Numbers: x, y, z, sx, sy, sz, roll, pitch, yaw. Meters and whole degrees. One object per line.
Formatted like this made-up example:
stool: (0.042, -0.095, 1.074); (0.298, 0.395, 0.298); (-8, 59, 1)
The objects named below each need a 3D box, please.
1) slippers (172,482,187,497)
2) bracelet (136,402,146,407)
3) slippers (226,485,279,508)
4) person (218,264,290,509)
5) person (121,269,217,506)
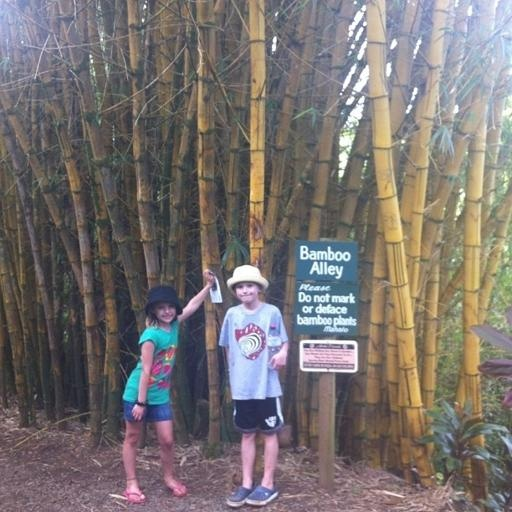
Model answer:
slippers: (-0.419, 1.272, 3.172); (0.043, 0.036, 0.081); (-2, -10, -22)
bracelet: (-0.590, 0.759, 2.986); (0.048, 0.036, 0.016); (-1, 3, -2)
slippers: (-0.018, 1.241, 2.999); (0.117, 0.064, 0.163); (-10, -14, 41)
person: (-0.008, 0.752, 3.069); (0.352, 1.068, 0.245); (-1, 3, -6)
person: (-0.545, 0.735, 3.106); (0.329, 1.152, 0.224); (-1, 3, -16)
